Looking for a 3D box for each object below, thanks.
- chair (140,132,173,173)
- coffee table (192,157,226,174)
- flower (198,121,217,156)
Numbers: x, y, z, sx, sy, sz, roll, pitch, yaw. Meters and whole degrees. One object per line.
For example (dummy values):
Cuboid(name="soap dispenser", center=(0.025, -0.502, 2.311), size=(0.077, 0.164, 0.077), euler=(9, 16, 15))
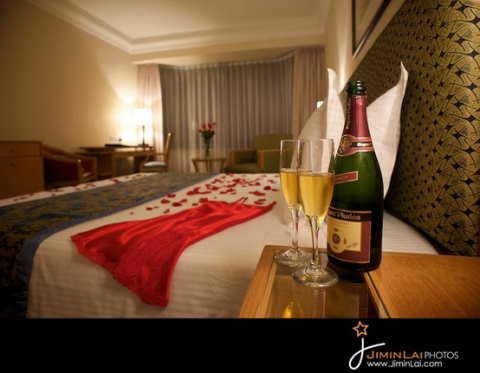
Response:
Cuboid(name="chair", center=(-1.483, -0.482, 5.675), size=(0.583, 0.939, 0.554), euler=(0, 5, -8))
Cuboid(name="coffee table", center=(-0.580, -0.451, 6.157), size=(0.431, 0.499, 0.475), euler=(2, 6, 23))
Cuboid(name="flower", center=(-0.642, -0.970, 6.420), size=(0.373, 0.664, 0.673), euler=(-3, 11, -7))
